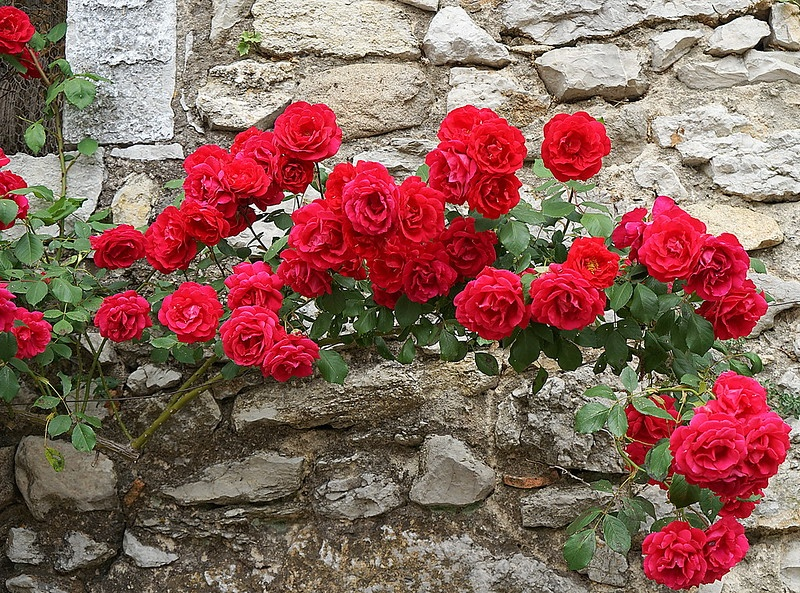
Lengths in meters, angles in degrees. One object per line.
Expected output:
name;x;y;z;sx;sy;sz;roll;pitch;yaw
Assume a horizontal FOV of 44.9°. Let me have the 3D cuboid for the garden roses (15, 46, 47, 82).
garden roses;-1.131;-0.712;2.952;0.065;0.089;0.027;-1;29;-14
